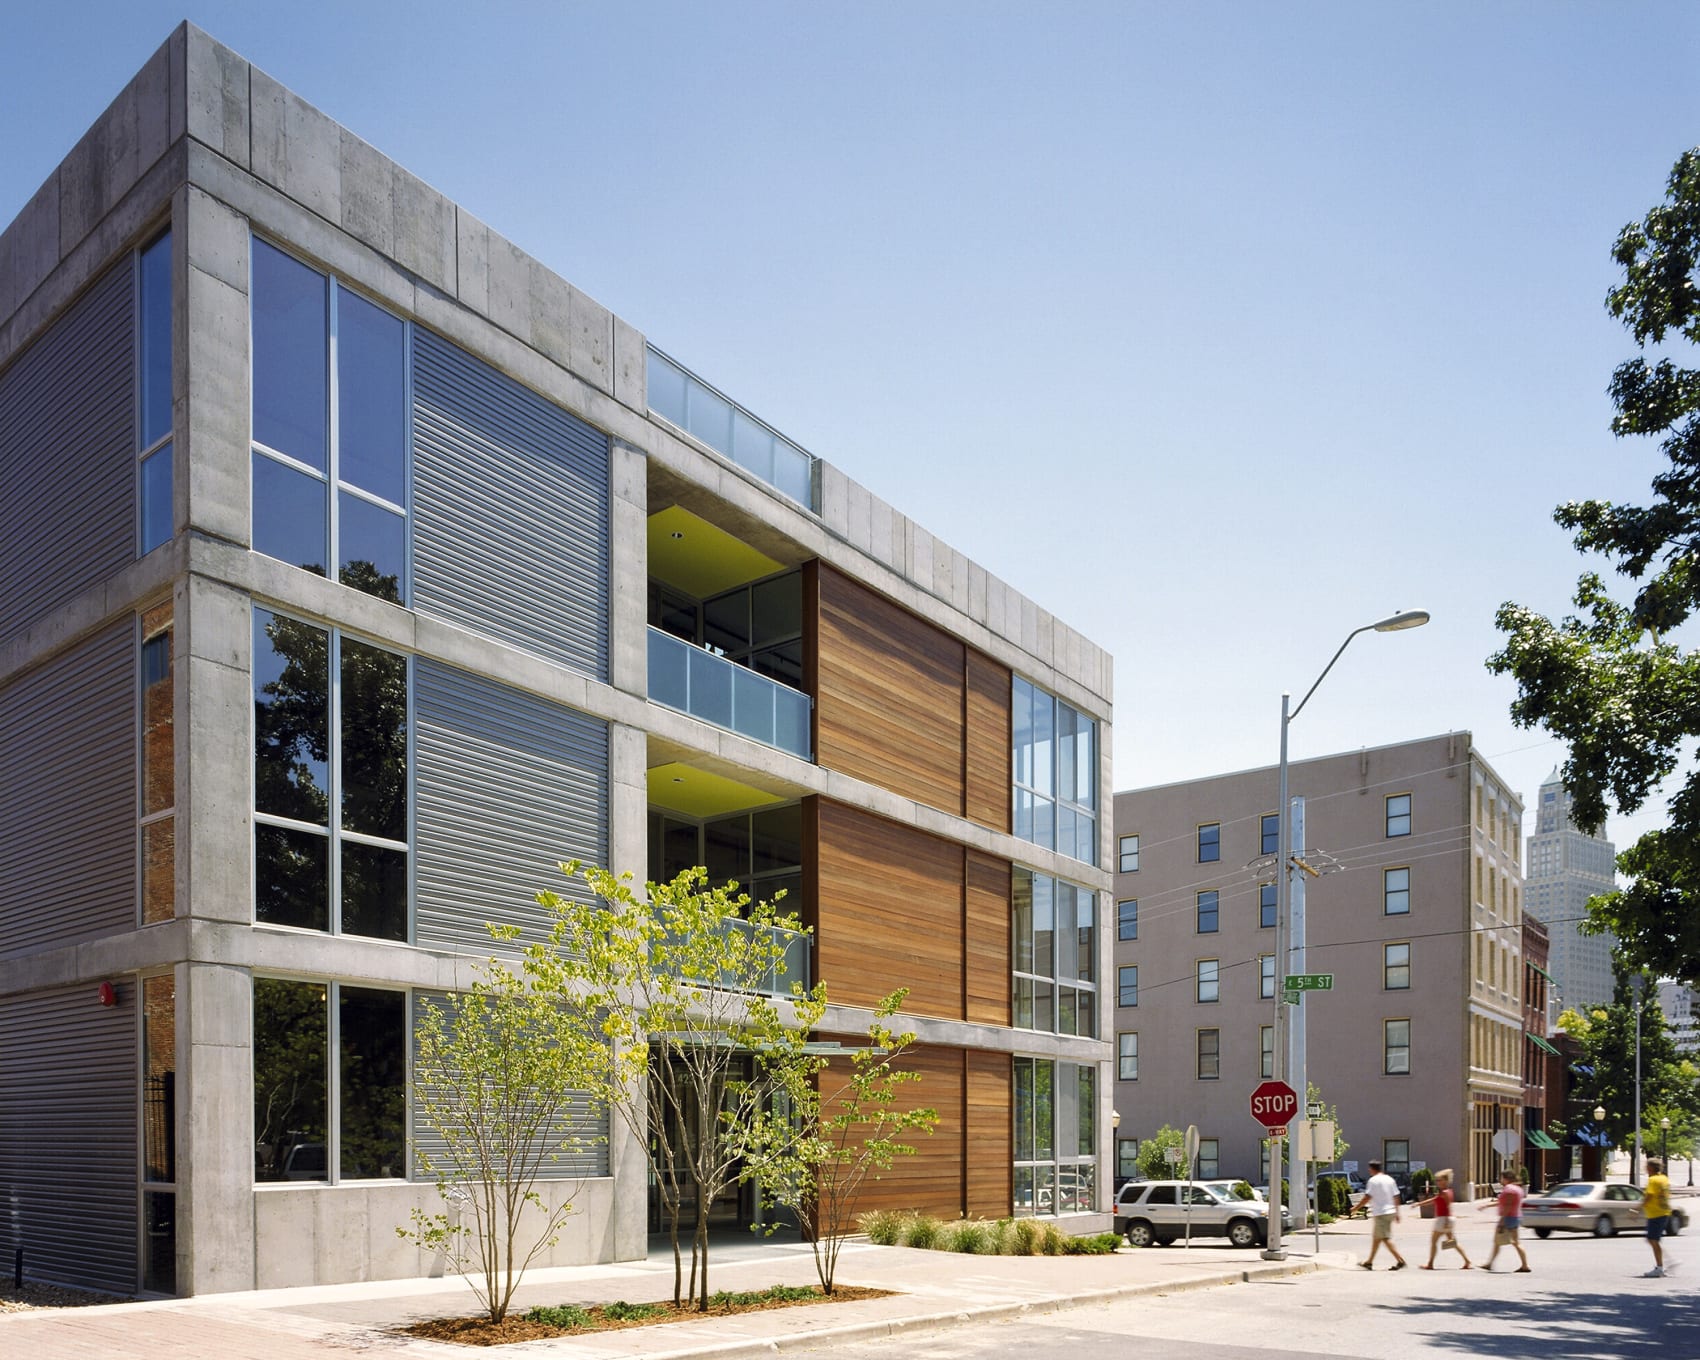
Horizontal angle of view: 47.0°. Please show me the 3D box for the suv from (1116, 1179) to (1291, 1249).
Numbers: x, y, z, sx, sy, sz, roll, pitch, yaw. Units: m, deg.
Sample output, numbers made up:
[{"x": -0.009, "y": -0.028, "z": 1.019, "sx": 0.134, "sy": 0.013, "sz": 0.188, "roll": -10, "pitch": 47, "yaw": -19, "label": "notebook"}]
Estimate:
[{"x": 7.274, "y": 11.255, "z": 41.469, "sx": 3.027, "sy": 1.393, "sz": 1.478, "roll": -6, "pitch": -10, "yaw": 19, "label": "suv"}]
